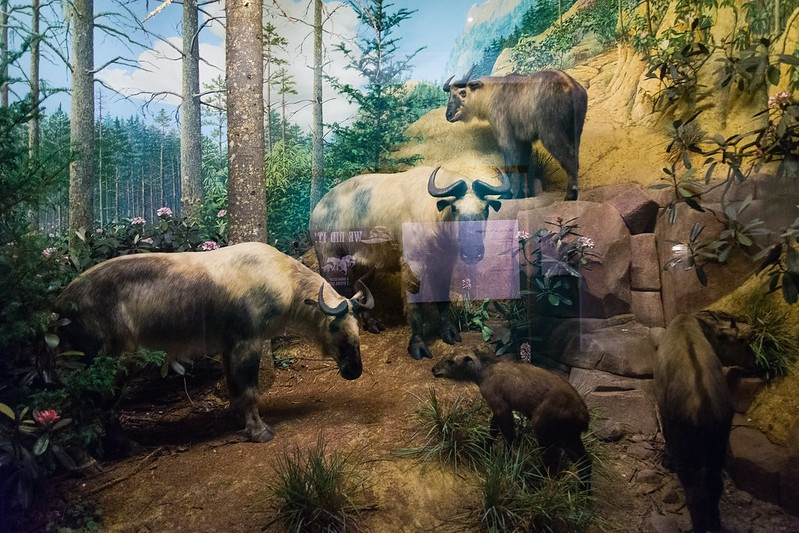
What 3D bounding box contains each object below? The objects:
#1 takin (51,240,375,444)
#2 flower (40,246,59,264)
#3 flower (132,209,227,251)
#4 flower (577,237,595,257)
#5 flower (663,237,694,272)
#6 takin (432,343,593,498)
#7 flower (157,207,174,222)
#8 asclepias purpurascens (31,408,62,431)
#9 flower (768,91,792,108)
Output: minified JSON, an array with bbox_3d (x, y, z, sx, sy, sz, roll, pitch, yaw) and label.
[{"bbox_3d":[-1.604,0.637,5.641,2.564,1.821,0.822,1,6,-15],"label":"takin"},{"bbox_3d":[-2.790,-0.098,4.981,0.102,0.090,0.106,3,10,-16],"label":"flower"},{"bbox_3d":[-1.955,-0.411,5.484,0.446,0.241,0.442,4,13,17],"label":"flower"},{"bbox_3d":[1.777,-0.191,5.892,0.158,0.149,0.164,-4,-4,31],"label":"flower"},{"bbox_3d":[2.546,-0.099,5.667,0.105,0.274,0.244,-12,11,-43],"label":"flower"},{"bbox_3d":[0.966,1.252,5.456,1.442,0.976,0.450,11,19,27],"label":"takin"},{"bbox_3d":[-2.030,-0.466,5.389,0.100,0.110,0.099,7,9,40],"label":"flower"},{"bbox_3d":[-2.734,1.172,4.817,0.136,0.129,0.136,-9,-9,39],"label":"asclepias purpurascens"},{"bbox_3d":[3.424,-1.506,5.626,0.161,0.175,0.167,-20,17,1],"label":"flower"}]
